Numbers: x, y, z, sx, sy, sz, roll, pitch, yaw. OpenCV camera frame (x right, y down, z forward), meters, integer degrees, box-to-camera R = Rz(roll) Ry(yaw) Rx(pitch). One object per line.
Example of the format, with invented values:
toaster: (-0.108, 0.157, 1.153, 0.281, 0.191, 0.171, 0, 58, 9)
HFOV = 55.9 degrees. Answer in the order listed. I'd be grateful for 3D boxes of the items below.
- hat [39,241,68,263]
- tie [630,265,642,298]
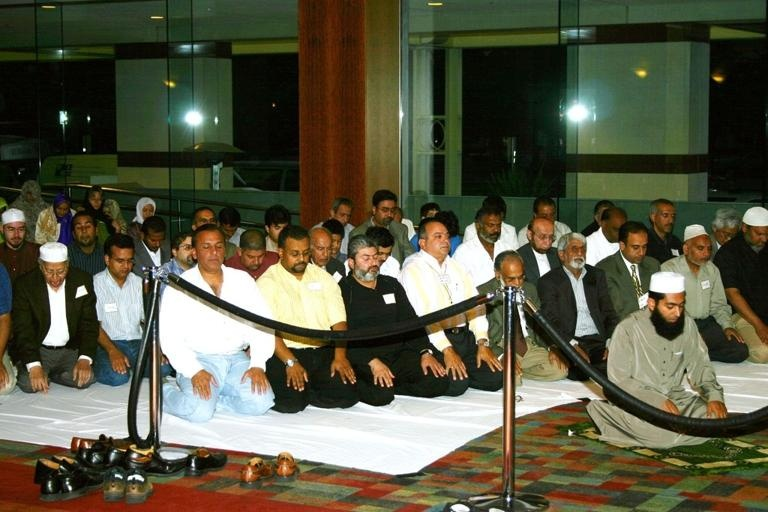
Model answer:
hat: (-3.377, -0.054, 7.434, 0.224, 0.118, 0.218, -1, 4, -38)
tie: (2.986, 0.276, 8.681, 0.091, 0.423, 0.080, -3, -13, -7)
